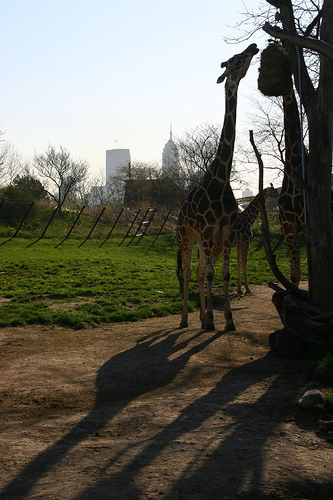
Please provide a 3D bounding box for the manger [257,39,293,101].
[{"bbox_3d":[1.833,-3.040,7.500,0.678,0.626,0.999,10,-9,7],"label":"manger"}]
